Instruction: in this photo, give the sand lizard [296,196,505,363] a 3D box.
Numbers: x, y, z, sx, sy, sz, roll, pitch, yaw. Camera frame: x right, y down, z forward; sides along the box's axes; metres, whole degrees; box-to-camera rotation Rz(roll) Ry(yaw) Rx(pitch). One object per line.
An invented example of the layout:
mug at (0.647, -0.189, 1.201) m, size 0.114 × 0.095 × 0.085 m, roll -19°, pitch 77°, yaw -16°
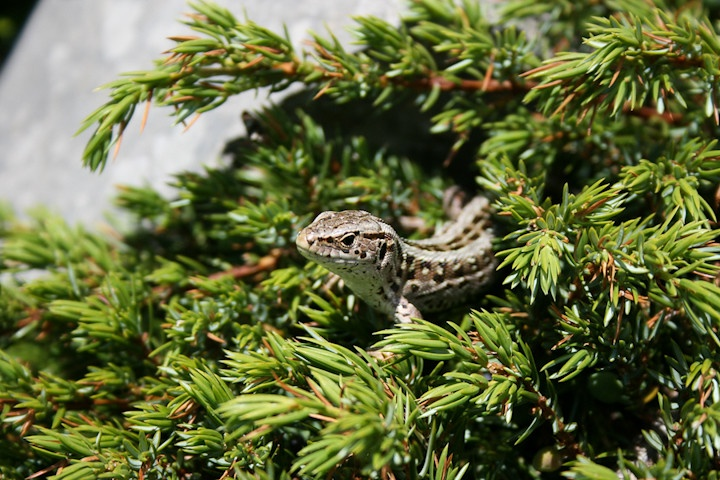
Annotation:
sand lizard at (0.150, 0.060, 2.639) m, size 0.857 × 0.341 × 0.355 m, roll -16°, pitch 26°, yaw -31°
